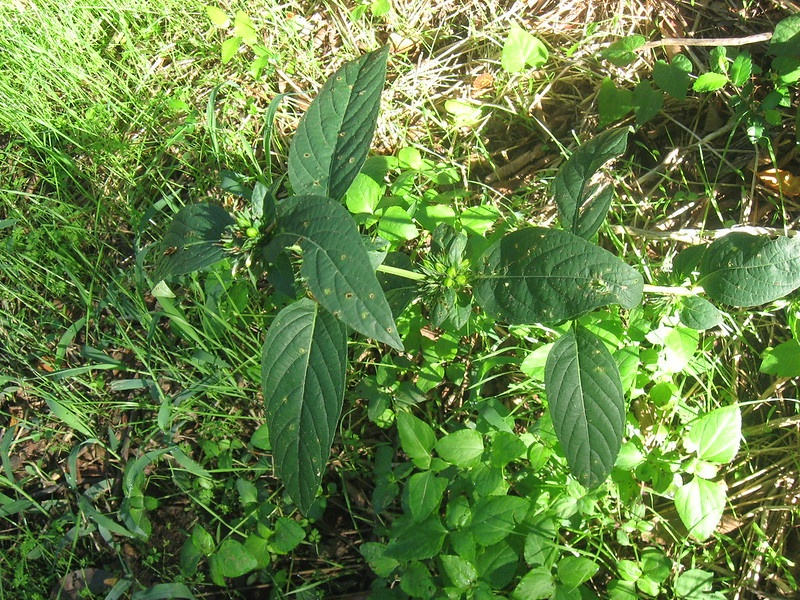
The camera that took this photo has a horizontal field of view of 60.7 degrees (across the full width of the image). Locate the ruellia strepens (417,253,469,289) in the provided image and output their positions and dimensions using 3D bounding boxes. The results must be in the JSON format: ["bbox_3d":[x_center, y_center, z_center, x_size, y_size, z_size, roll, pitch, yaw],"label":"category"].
[{"bbox_3d":[0.178,-0.115,2.854,0.158,0.089,0.154,20,98,35],"label":"ruellia strepens"}]
